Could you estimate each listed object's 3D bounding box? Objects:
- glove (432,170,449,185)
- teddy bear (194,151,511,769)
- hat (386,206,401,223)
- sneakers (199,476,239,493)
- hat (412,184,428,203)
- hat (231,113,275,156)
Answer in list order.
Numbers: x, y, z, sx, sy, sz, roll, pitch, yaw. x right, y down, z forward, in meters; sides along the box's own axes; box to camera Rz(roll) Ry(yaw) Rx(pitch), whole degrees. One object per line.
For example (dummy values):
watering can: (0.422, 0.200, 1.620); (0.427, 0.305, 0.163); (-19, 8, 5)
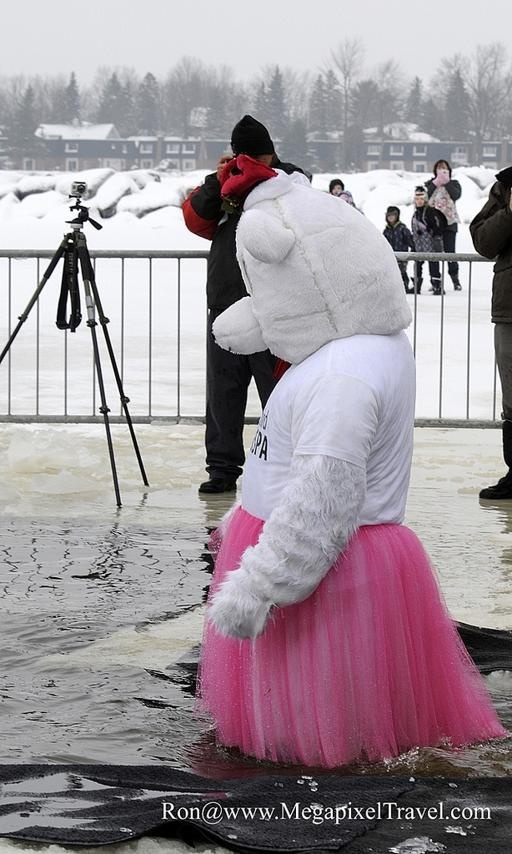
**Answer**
glove: (2.449, -3.239, 16.401); (0.259, 0.134, 0.356); (-2, -1, 0)
teddy bear: (0.186, 0.075, 2.530); (0.595, 1.242, 0.521); (-2, 7, -6)
hat: (1.948, -2.981, 17.687); (0.174, 0.242, 0.238); (-1, -7, 7)
sneakers: (-0.179, 0.279, 6.025); (0.197, 0.097, 0.070); (3, -2, -38)
hat: (2.142, -2.980, 16.110); (0.242, 0.294, 0.338); (1, -5, 9)
hat: (-0.030, -1.183, 5.108); (0.161, 0.197, 0.369); (0, 7, 8)
